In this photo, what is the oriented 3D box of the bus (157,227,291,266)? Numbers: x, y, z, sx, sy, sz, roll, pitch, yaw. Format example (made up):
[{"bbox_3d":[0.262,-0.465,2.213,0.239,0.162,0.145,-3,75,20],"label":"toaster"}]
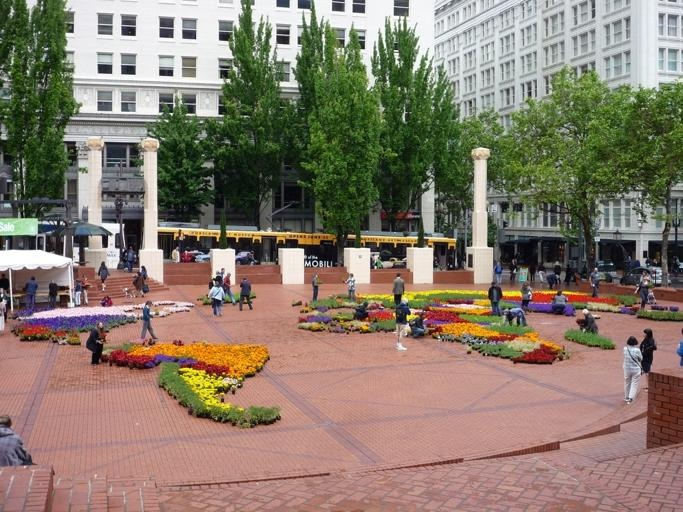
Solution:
[{"bbox_3d":[-9.100,-0.816,57.028,9.362,2.710,3.822,0,1,0],"label":"bus"}]
